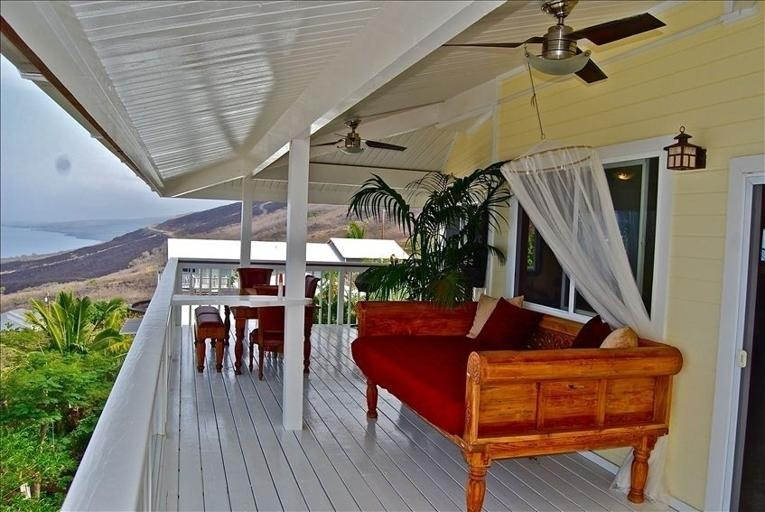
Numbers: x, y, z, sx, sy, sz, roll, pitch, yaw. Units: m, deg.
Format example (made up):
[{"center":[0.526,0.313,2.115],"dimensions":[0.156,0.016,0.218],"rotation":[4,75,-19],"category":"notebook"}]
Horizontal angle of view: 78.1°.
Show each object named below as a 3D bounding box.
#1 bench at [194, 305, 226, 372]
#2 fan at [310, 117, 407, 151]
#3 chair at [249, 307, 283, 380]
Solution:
[{"center":[-2.508,1.207,6.840],"dimensions":[0.408,0.739,1.108],"rotation":[1,6,-20],"category":"bench"},{"center":[-0.424,-1.788,7.261],"dimensions":[1.101,0.534,1.845],"rotation":[1,6,-23],"category":"fan"},{"center":[-1.619,1.130,6.532],"dimensions":[0.456,1.012,0.898],"rotation":[1,7,-15],"category":"chair"}]
